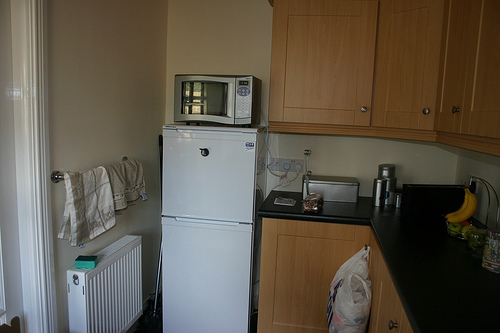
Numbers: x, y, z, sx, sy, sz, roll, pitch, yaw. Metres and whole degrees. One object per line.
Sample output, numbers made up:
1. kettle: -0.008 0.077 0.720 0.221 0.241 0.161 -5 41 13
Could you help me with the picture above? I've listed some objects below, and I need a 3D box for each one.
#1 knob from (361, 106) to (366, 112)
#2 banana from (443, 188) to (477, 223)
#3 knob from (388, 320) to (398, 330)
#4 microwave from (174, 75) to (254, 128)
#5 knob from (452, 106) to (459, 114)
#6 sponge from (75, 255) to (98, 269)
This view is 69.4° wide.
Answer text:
1. knob: 0.914 -0.465 2.893 0.043 0.047 0.032 4 10 16
2. banana: 1.480 0.270 2.567 0.191 0.230 0.162 1 9 -4
3. knob: 0.788 0.877 1.998 0.036 0.053 0.049 3 -5 -9
4. microwave: -0.300 -0.508 3.044 0.604 0.415 0.437 1 -6 -3
5. knob: 1.363 -0.380 2.389 0.047 0.051 0.013 -12 13 -12
6. sponge: -1.152 0.668 2.546 0.143 0.066 0.088 3 10 6
